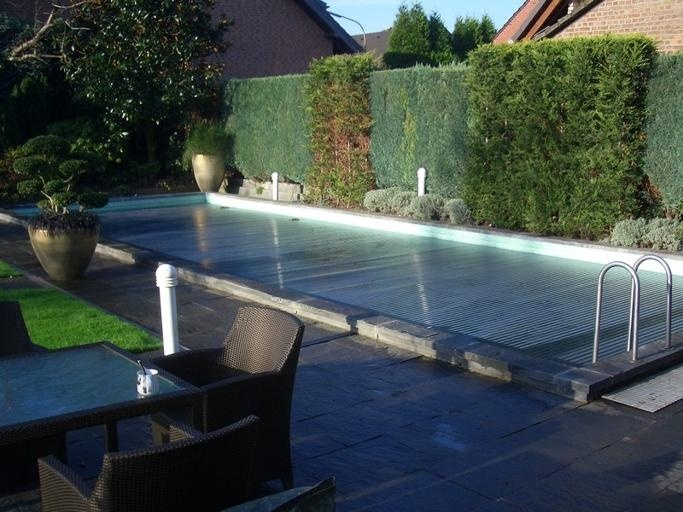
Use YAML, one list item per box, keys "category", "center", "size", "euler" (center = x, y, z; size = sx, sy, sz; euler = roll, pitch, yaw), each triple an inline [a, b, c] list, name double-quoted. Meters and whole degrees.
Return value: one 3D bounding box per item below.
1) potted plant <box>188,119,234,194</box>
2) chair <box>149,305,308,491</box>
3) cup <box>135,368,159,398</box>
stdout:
- category: "potted plant"
  center: [-4.518, -3.415, 21.176]
  size: [1.363, 2.317, 1.344]
  euler: [-8, 13, -40]
- category: "chair"
  center: [-0.799, 1.037, 4.269]
  size: [0.817, 1.178, 0.787]
  euler: [-3, 8, -41]
- category: "cup"
  center: [-1.196, 0.768, 3.770]
  size: [0.144, 0.147, 0.128]
  euler: [-5, 11, -26]
